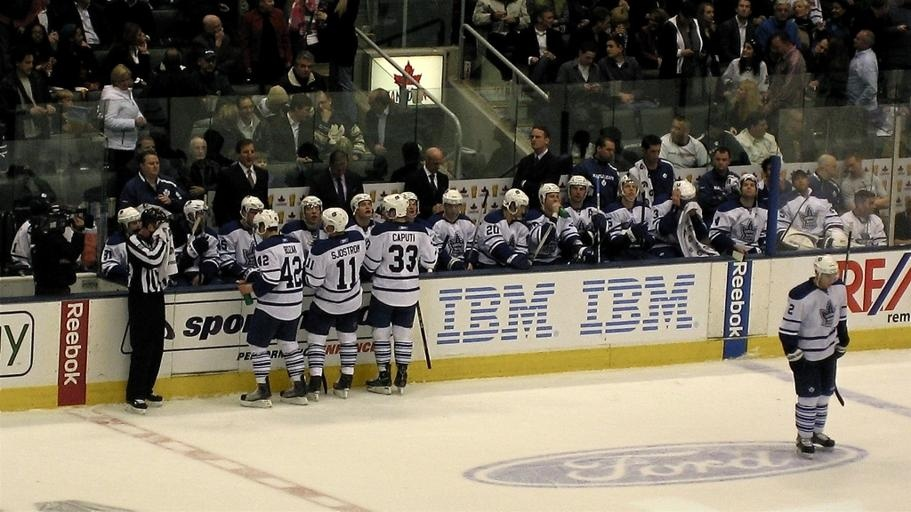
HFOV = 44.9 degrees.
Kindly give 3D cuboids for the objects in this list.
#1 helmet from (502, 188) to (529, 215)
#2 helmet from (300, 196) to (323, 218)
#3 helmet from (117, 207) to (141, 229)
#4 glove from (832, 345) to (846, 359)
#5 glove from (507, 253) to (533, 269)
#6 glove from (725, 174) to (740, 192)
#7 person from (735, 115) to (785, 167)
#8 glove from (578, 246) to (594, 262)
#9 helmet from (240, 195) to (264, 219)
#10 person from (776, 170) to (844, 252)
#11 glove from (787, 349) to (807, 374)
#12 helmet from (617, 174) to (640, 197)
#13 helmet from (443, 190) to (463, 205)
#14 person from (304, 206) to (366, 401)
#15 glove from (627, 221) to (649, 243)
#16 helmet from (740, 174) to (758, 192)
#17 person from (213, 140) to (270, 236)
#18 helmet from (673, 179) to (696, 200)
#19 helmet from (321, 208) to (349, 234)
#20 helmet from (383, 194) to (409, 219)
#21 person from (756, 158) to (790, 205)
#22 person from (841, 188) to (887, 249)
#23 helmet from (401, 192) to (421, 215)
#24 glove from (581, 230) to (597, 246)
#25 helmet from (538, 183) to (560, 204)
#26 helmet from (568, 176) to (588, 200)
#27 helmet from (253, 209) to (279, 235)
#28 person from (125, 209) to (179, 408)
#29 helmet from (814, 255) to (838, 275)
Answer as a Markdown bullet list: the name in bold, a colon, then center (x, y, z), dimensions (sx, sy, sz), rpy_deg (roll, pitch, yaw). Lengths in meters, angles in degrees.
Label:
- **helmet**: center (0.967, -0.896, 17.784), dimensions (0.419, 0.310, 0.324), rpy_deg (-2, 22, 2)
- **helmet**: center (-2.214, -0.799, 16.878), dimensions (0.261, 0.240, 0.323), rpy_deg (1, -20, -20)
- **helmet**: center (-4.811, -0.573, 16.125), dimensions (0.318, 0.247, 0.262), rpy_deg (-11, 2, 25)
- **glove**: center (5.517, 1.339, 15.722), dimensions (0.163, 0.205, 0.222), rpy_deg (10, -16, 18)
- **glove**: center (0.996, 0.072, 17.472), dimensions (0.367, 0.255, 0.176), rpy_deg (-1, 5, 4)
- **glove**: center (4.807, -1.285, 18.985), dimensions (0.256, 0.213, 0.259), rpy_deg (10, -36, 27)
- **person**: center (5.359, -2.061, 19.320), dimensions (0.600, 0.783, 0.574), rpy_deg (-36, 37, -15)
- **glove**: center (2.117, -0.032, 18.008), dimensions (0.228, 0.150, 0.277), rpy_deg (4, -34, 6)
- **helmet**: center (-3.110, -0.771, 16.734), dimensions (0.347, 0.317, 0.266), rpy_deg (7, 10, 12)
- **person**: center (5.959, -0.738, 18.670), dimensions (1.111, 1.175, 0.743), rpy_deg (-16, 17, -15)
- **glove**: center (4.825, 1.447, 15.597), dimensions (0.290, 0.326, 0.286), rpy_deg (-6, 40, 10)
- **helmet**: center (2.906, -1.177, 18.446), dimensions (0.304, 0.351, 0.387), rpy_deg (1, -7, -5)
- **helmet**: center (-0.066, -0.938, 17.765), dimensions (0.234, 0.228, 0.268), rpy_deg (-1, -12, -41)
- **person**: center (-1.798, 0.700, 16.461), dimensions (0.918, 2.823, 0.277), rpy_deg (-3, 5, -9)
- **glove**: center (3.044, -0.374, 18.289), dimensions (0.297, 0.367, 0.143), rpy_deg (-3, -17, -37)
- **helmet**: center (4.922, -1.252, 18.584), dimensions (0.289, 0.294, 0.315), rpy_deg (5, -22, 2)
- **person**: center (-3.365, -0.784, 17.515), dimensions (0.993, 1.971, 0.519), rpy_deg (-4, 4, -34)
- **helmet**: center (3.801, -1.098, 18.343), dimensions (0.335, 0.324, 0.227), rpy_deg (-1, 5, 9)
- **helmet**: center (-1.725, -0.553, 16.368), dimensions (0.415, 0.357, 0.317), rpy_deg (13, 39, 17)
- **helmet**: center (-0.925, -0.766, 16.703), dimensions (0.397, 0.297, 0.307), rpy_deg (10, 18, 22)
- **person**: center (5.284, -1.244, 18.477), dimensions (0.545, 0.819, 0.872), rpy_deg (1, 6, 33)
- **person**: center (6.958, -0.689, 18.822), dimensions (0.828, 1.052, 0.637), rpy_deg (-14, 18, -27)
- **helmet**: center (-0.653, -0.802, 16.874), dimensions (0.286, 0.318, 0.340), rpy_deg (-5, -8, -19)
- **glove**: center (2.222, -0.315, 18.341), dimensions (0.215, 0.272, 0.147), rpy_deg (-5, 3, 11)
- **helmet**: center (1.492, -1.036, 17.862), dimensions (0.337, 0.302, 0.284), rpy_deg (-6, -1, 32)
- **helmet**: center (2.050, -1.191, 18.491), dimensions (0.333, 0.336, 0.380), rpy_deg (4, -34, 4)
- **helmet**: center (-2.784, -0.540, 16.255), dimensions (0.309, 0.328, 0.373), rpy_deg (-15, 26, -38)
- **person**: center (-4.404, 0.735, 15.805), dimensions (0.760, 2.871, 0.322), rpy_deg (-3, 5, -14)
- **helmet**: center (5.249, 0.145, 15.515), dimensions (0.256, 0.291, 0.291), rpy_deg (4, -32, -8)
